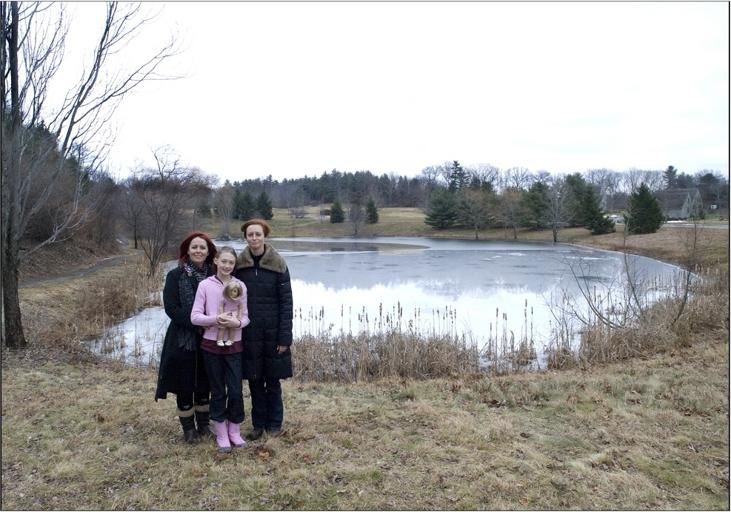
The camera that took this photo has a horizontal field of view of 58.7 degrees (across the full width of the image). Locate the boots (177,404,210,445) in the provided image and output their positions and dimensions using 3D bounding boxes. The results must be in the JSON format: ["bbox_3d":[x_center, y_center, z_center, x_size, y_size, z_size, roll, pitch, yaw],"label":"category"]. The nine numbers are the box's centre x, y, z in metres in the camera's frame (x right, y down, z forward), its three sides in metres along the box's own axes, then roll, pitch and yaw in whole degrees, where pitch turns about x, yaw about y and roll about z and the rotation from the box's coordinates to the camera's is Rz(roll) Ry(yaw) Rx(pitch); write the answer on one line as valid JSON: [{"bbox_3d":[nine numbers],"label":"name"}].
[{"bbox_3d":[-2.935,2.881,11.181,0.514,0.633,0.603,2,-7,-40],"label":"boots"}]

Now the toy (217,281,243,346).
[{"bbox_3d":[-2.249,0.944,10.827,0.393,1.152,0.351,7,1,17],"label":"toy"}]

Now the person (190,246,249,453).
[{"bbox_3d":[-2.402,1.552,10.921,0.898,3.362,0.675,-1,11,-9],"label":"person"}]

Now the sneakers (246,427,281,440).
[{"bbox_3d":[-1.760,3.067,11.301,0.584,0.263,0.207,10,-7,-12],"label":"sneakers"}]
